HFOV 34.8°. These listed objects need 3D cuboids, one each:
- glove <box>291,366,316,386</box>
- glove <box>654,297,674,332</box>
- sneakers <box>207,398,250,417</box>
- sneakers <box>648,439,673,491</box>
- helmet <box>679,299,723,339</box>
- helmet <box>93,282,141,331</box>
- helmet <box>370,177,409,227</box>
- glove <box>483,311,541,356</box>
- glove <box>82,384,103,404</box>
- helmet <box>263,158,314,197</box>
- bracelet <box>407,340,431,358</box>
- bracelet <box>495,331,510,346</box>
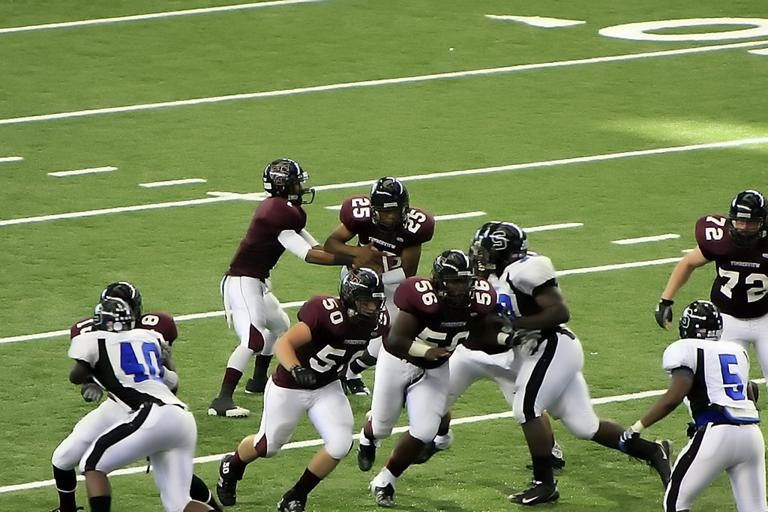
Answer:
[{"bbox_3d":[-0.638,0.948,9.640,0.158,0.065,0.181,20,12,-28],"label":"glove"},{"bbox_3d":[2.562,0.544,11.124,0.163,0.243,0.209,3,-8,0],"label":"glove"},{"bbox_3d":[-1.433,1.415,11.287,0.379,0.113,0.165,1,2,2],"label":"sneakers"},{"bbox_3d":[2.341,1.750,10.191,0.220,0.397,0.160,-13,-1,-9],"label":"sneakers"},{"bbox_3d":[2.502,0.532,9.772,0.336,0.257,0.343,5,-6,-6],"label":"helmet"},{"bbox_3d":[-2.093,0.421,9.639,0.384,0.325,0.420,2,-4,-12],"label":"helmet"},{"bbox_3d":[-0.065,-0.494,11.306,0.440,0.403,0.449,-2,43,-5],"label":"helmet"},{"bbox_3d":[1.055,0.650,10.135,0.447,0.126,0.380,11,-4,4],"label":"glove"},{"bbox_3d":[-2.270,1.076,9.518,0.143,0.174,0.209,-3,9,-13],"label":"glove"},{"bbox_3d":[-0.922,-0.726,11.704,0.589,0.290,0.337,2,10,-2],"label":"helmet"},{"bbox_3d":[0.321,0.760,9.933,0.143,0.141,0.136,29,24,32],"label":"bracelet"},{"bbox_3d":[0.976,0.685,10.039,0.132,0.071,0.093,11,-9,9],"label":"bracelet"}]
